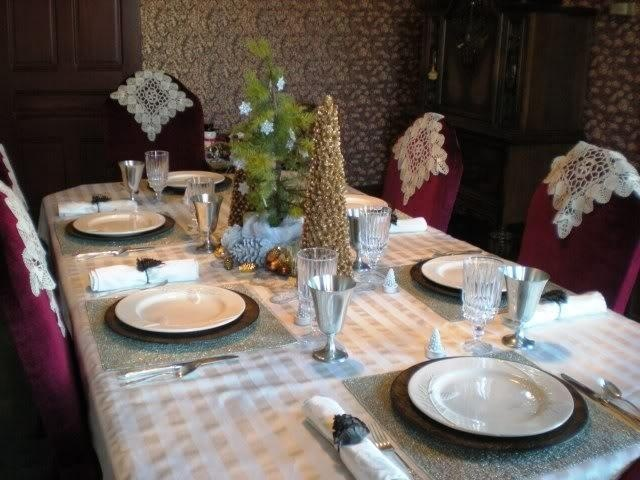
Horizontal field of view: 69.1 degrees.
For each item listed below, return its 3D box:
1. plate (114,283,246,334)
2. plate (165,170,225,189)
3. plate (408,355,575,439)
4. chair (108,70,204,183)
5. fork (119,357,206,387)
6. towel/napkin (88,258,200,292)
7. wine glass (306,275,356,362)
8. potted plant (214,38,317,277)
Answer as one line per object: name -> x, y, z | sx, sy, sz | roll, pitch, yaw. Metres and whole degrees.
plate -> -0.350, 0.158, 1.128 | 0.147, 0.022, 0.151 | -9, 23, -32
plate -> -0.593, -0.282, 2.182 | 0.213, 0.034, 0.228 | 1, 12, -2
plate -> 0.286, 0.261, 0.796 | 0.273, 0.035, 0.214 | 0, 24, 3
chair -> -1.010, -0.800, 3.209 | 0.525, 0.884, 0.591 | -5, 15, -23
fork -> -0.310, 0.259, 0.910 | 0.156, 0.016, 0.049 | -8, 24, -15
towel/napkin -> -0.498, 0.124, 1.314 | 0.251, 0.083, 0.067 | -3, -12, -25
wine glass -> 0.020, 0.168, 0.976 | 0.102, 0.172, 0.108 | -14, 26, -35
potted plant -> -0.118, -0.214, 1.510 | 0.258, 0.672, 0.262 | -13, -14, 32
